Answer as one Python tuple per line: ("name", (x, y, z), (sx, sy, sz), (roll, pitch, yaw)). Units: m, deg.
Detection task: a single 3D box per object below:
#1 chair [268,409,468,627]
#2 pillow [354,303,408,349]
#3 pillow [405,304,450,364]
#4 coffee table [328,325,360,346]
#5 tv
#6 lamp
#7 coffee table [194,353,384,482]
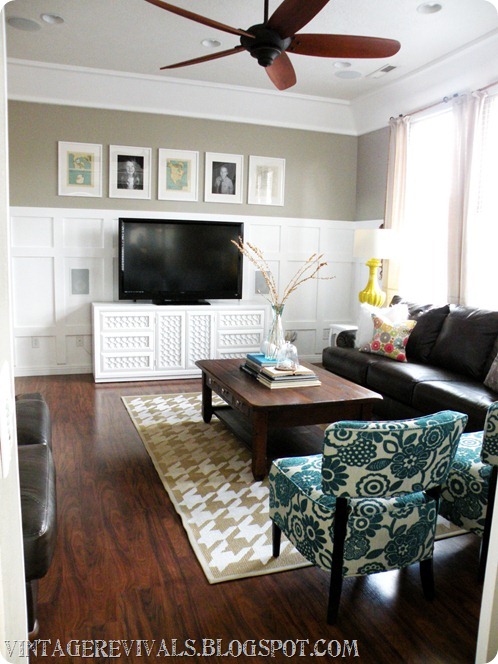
("chair", (0.363, 0.531, 1.782), (0.574, 0.759, 0.726), (-1, 5, -17))
("pillow", (1.174, -0.066, 4.424), (0.433, 0.409, 0.131), (-4, -22, 43))
("pillow", (1.468, 0.012, 4.091), (0.193, 0.427, 0.426), (24, -7, -12))
("coffee table", (1.007, 0.034, 5.355), (0.254, 0.325, 0.337), (2, 12, -8))
("tv", (-0.762, -0.752, 5.180), (1.001, 0.684, 0.167), (-1, 11, -19))
("lamp", (1.274, -0.663, 5.072), (0.387, 0.845, 1.324), (2, 7, 12))
("coffee table", (0.286, 0.285, 2.937), (0.633, 0.377, 1.037), (-1, 8, -18))
